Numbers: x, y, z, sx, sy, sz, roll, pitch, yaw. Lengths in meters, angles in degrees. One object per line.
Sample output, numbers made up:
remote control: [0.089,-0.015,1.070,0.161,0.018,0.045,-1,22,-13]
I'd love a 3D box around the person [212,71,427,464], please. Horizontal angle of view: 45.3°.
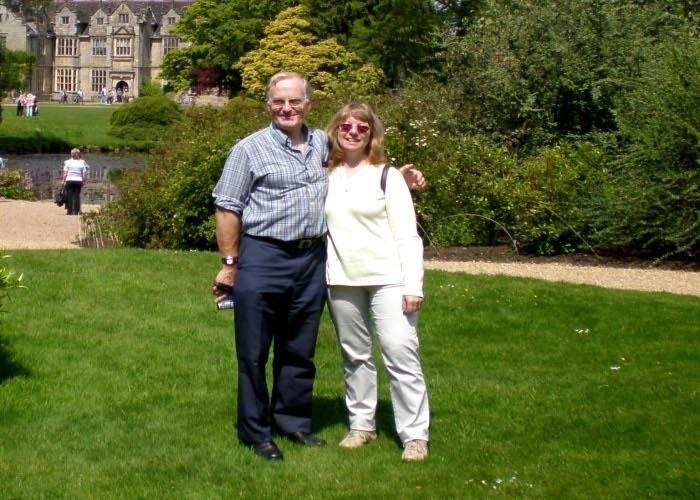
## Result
person: [-0.715,0.136,7.728,1.061,3.527,0.531,2,7,-4]

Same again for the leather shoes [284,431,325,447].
leather shoes: [-0.428,1.773,8.033,0.415,0.188,0.152,0,7,9]

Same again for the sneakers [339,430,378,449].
sneakers: [0.067,1.811,8.060,0.282,0.134,0.149,2,5,-18]
